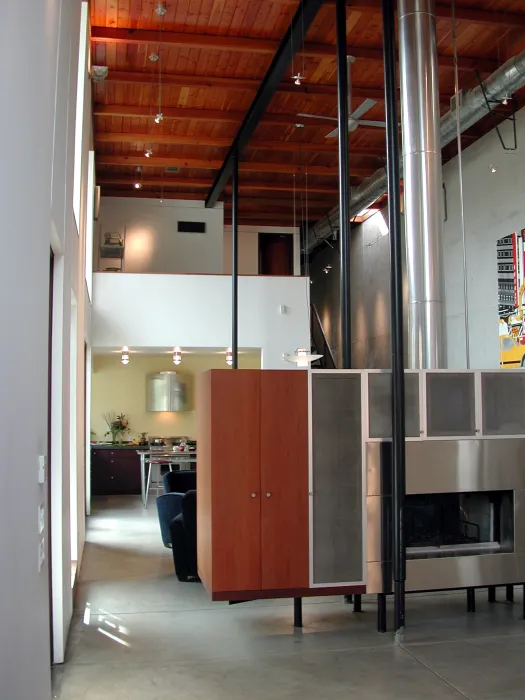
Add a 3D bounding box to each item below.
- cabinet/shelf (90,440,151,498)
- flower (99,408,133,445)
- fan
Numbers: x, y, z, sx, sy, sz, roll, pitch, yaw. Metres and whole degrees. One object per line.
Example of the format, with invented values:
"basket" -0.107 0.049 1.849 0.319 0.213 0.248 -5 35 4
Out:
"cabinet/shelf" -2.803 2.266 12.726 1.139 1.486 0.786 1 -5 -11
"flower" -3.068 1.662 13.460 0.468 0.908 0.523 13 -22 -34
"fan" 0.907 -2.776 6.809 0.937 0.811 1.028 -31 35 -18
